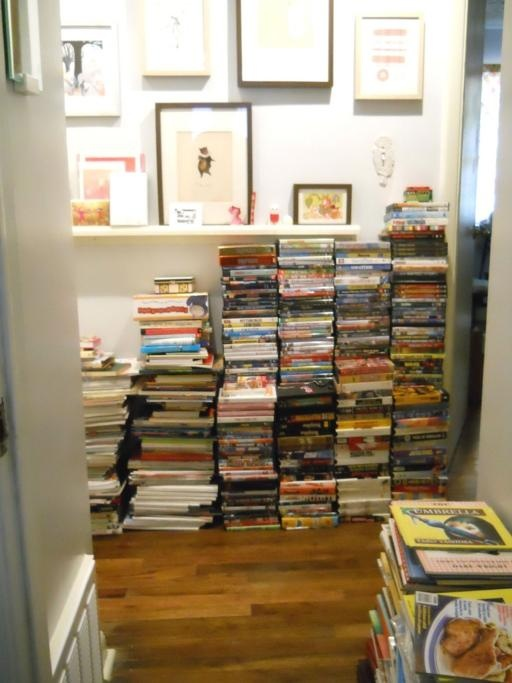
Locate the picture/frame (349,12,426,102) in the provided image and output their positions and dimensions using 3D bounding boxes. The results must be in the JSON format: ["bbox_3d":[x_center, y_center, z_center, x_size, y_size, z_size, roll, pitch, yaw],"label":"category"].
[{"bbox_3d":[0.567,-1.252,2.541,0.337,0.364,0.030,-1,10,-5],"label":"picture/frame"}]

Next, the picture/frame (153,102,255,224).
[{"bbox_3d":[-0.238,-0.803,2.555,0.521,0.678,0.043,0,17,1],"label":"picture/frame"}]
